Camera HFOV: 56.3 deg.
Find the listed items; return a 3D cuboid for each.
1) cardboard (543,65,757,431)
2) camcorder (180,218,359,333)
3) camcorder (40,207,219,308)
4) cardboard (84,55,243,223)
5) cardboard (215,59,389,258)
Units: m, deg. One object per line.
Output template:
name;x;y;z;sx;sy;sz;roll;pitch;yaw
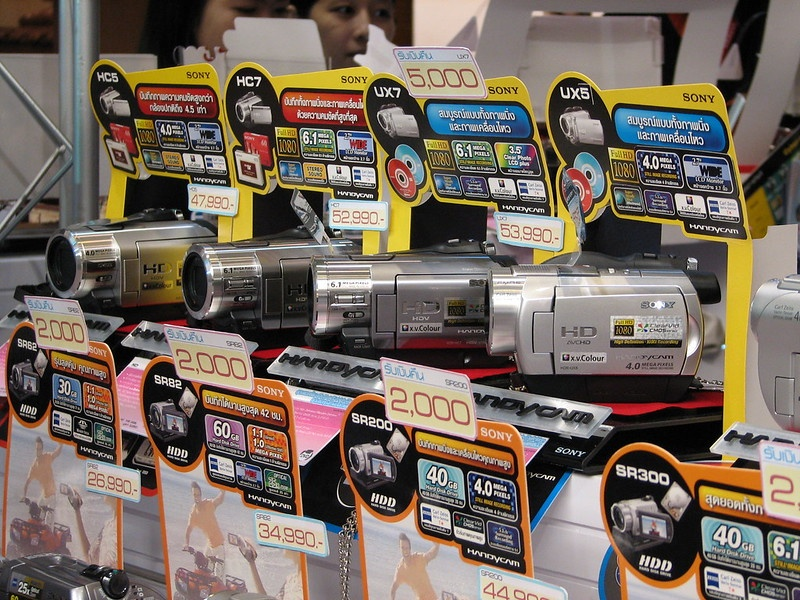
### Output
cardboard;0.489;-0.123;1.630;0.066;0.684;0.552;-21;27;-38
camcorder;-0.370;-0.087;2.050;0.349;0.217;0.260;-4;9;-33
camcorder;-0.806;-0.147;2.246;0.455;0.282;0.258;-6;10;-42
cardboard;-0.761;-0.513;2.389;0.008;0.487;0.582;-18;26;-41
cardboard;-0.272;-0.370;2.024;0.483;0.440;0.007;16;26;38
